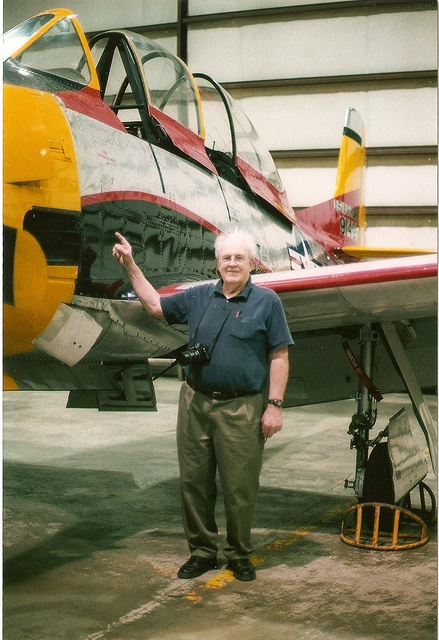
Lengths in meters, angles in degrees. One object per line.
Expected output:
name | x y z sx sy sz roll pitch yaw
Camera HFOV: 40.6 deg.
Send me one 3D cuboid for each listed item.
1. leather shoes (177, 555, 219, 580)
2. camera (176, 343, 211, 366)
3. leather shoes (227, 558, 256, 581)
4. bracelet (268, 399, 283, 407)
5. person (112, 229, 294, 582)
leather shoes | -0.090 0.943 2.259 0.059 0.067 0.176 -8 -16 43
camera | -0.102 0.109 2.130 0.087 0.061 0.106 -4 5 -40
leather shoes | 0.081 0.940 2.235 0.054 0.054 0.138 5 -13 -20
bracelet | 0.203 0.298 2.147 0.046 0.027 0.045 4 -7 -9
person | -0.068 0.323 2.216 0.618 1.316 0.261 2 -3 -10
